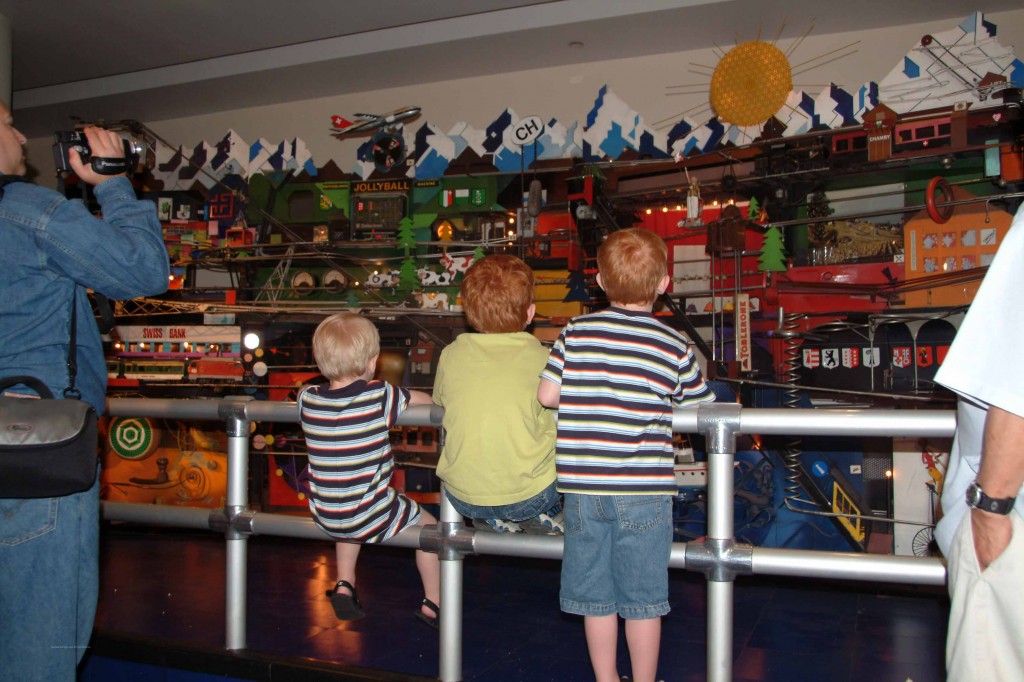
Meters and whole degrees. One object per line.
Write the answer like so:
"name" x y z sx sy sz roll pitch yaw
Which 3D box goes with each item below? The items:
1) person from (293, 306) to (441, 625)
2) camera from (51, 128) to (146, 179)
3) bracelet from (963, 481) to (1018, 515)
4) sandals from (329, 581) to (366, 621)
"person" -0.677 0.621 4.386 0.660 1.494 0.352 0 3 -3
"camera" -1.802 -0.802 4.052 0.284 0.245 0.118 -3 0 -10
"bracelet" 1.798 0.606 3.532 0.175 0.091 0.168 2 0 11
"sandals" -0.795 1.226 4.458 0.123 0.213 0.081 -3 32 3
